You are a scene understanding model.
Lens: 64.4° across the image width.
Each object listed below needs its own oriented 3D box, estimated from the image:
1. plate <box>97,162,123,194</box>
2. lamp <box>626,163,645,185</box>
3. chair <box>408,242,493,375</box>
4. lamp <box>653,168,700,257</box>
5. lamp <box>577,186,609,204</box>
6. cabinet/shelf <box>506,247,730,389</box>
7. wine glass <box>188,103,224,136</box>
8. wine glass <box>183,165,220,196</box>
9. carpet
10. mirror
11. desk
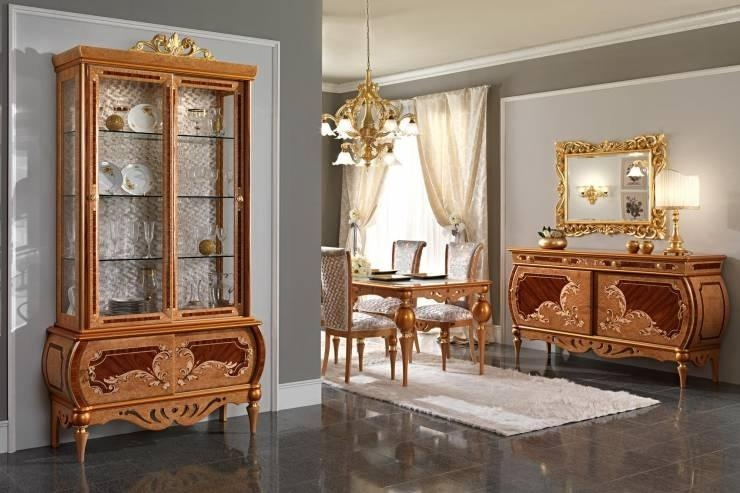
[{"bbox_3d":[-1.824,-0.483,4.125,0.042,0.232,0.163,4,7,36],"label":"plate"},{"bbox_3d":[2.928,-0.796,6.458,0.205,0.233,0.183,-3,5,-13],"label":"lamp"},{"bbox_3d":[0.837,0.627,6.573,0.838,1.269,0.865,-1,6,8],"label":"chair"},{"bbox_3d":[3.082,-0.353,5.923,0.397,0.823,0.626,4,6,34],"label":"lamp"},{"bbox_3d":[2.592,-0.597,6.772,0.075,0.157,0.230,3,0,-43],"label":"lamp"},{"bbox_3d":[2.610,0.685,6.470,0.767,1.267,2.223,-1,1,-34],"label":"cabinet/shelf"},{"bbox_3d":[-1.218,-0.943,4.391,0.231,0.159,0.221,-1,2,-16],"label":"wine glass"},{"bbox_3d":[-1.237,-0.486,4.339,0.244,0.091,0.190,-1,0,-31],"label":"wine glass"},{"bbox_3d":[1.005,1.340,5.582,2.823,0.051,1.709,5,6,41],"label":"carpet"},{"bbox_3d":[2.761,-0.675,6.577,1.283,1.073,0.060,4,5,44],"label":"mirror"},{"bbox_3d":[0.792,0.848,6.268,1.026,0.856,1.270,-4,-3,7],"label":"desk"}]
